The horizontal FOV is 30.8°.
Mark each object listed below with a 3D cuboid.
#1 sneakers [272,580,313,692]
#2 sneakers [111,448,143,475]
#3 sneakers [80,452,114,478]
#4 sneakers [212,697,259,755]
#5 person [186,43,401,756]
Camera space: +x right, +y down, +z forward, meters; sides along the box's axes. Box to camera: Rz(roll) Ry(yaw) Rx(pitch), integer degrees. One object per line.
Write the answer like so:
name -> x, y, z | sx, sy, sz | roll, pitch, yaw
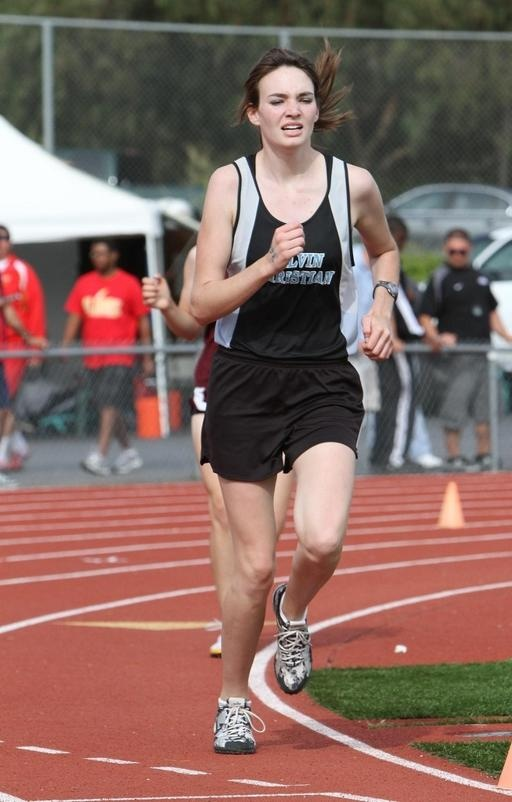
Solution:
sneakers -> 0.095, 0.637, 2.622 | 0.124, 0.320, 0.141 | -3, 2, -3
sneakers -> -0.865, 0.400, 6.175 | 0.098, 0.102, 0.255 | 2, 5, 13
sneakers -> -1.031, 0.405, 6.018 | 0.119, 0.084, 0.199 | 20, -13, -18
sneakers -> -0.047, 0.875, 2.518 | 0.080, 0.084, 0.198 | 1, 0, -3
person -> 0.069, 0.083, 2.450 | 0.516, 1.993, 0.762 | 6, 15, 6
